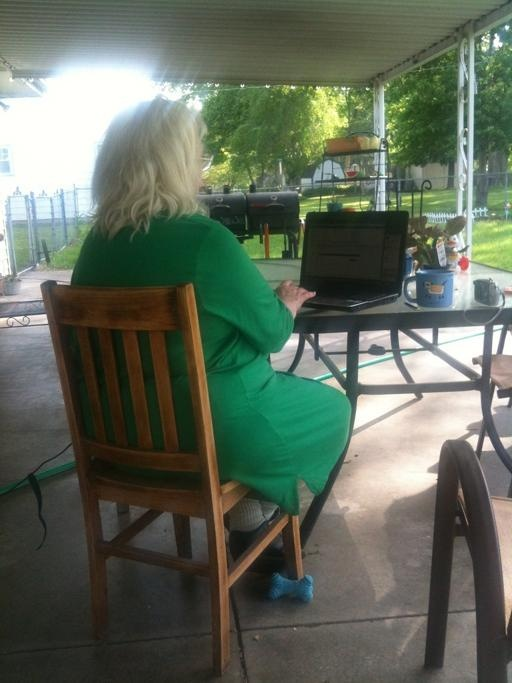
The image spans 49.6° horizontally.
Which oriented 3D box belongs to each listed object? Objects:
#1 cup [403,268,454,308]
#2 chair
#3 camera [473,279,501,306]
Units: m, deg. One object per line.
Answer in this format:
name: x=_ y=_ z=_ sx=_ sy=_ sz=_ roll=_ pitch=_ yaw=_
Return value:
cup: x=0.575 y=-0.173 z=1.877 sx=0.147 sy=0.148 sz=0.153 roll=-2 pitch=11 yaw=0
chair: x=-0.217 y=0.227 z=1.462 sx=0.495 sy=0.988 sz=0.574 roll=4 pitch=13 yaw=23
camera: x=0.762 y=-0.165 z=1.824 sx=0.085 sy=0.077 sz=0.168 roll=2 pitch=13 yaw=23
